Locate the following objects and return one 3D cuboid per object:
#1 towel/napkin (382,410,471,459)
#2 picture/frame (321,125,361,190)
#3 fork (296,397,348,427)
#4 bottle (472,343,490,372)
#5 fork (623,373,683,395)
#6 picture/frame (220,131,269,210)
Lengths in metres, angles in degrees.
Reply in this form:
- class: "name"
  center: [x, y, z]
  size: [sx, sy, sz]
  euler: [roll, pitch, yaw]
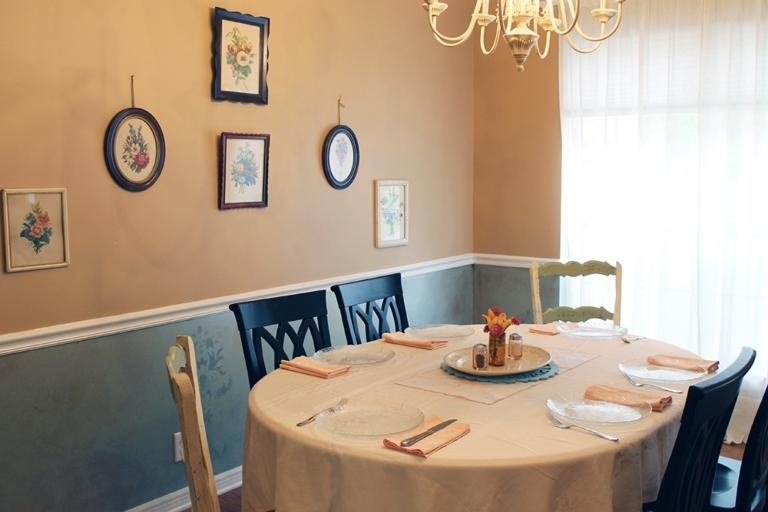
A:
- class: "towel/napkin"
  center: [0.173, 0.689, 2.180]
  size: [0.201, 0.036, 0.141]
  euler: [-11, 14, -44]
- class: "picture/frame"
  center: [-0.324, -0.707, 4.030]
  size: [0.043, 0.514, 0.426]
  euler: [2, 6, 33]
- class: "fork"
  center: [-0.250, 0.645, 2.357]
  size: [0.067, 0.030, 0.240]
  euler: [13, 18, 30]
- class: "bottle"
  center: [0.450, 0.477, 2.686]
  size: [0.091, 0.146, 0.096]
  euler: [0, 2, 0]
- class: "fork"
  center: [1.215, 0.582, 2.582]
  size: [0.187, 0.037, 0.034]
  euler: [5, 26, 36]
- class: "picture/frame"
  center: [-0.890, -0.549, 3.550]
  size: [0.053, 0.590, 0.436]
  euler: [8, 9, 44]
